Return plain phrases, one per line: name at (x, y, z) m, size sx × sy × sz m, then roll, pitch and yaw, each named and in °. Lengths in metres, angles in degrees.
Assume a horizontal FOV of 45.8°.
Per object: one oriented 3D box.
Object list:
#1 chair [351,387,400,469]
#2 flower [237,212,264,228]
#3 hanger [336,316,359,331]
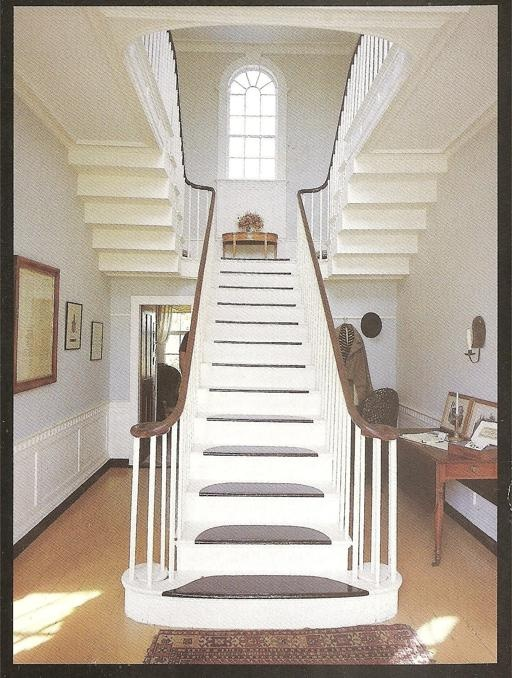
chair at (1.091, 0.670, 5.477) m, size 0.381 × 0.432 × 0.481 m, roll 1°, pitch 3°, yaw 13°
flower at (-0.067, -1.541, 7.881) m, size 0.227 × 0.152 × 0.266 m, roll 2°, pitch 10°, yaw 2°
hanger at (1.078, -0.181, 7.060) m, size 0.243 × 0.164 × 0.059 m, roll 2°, pitch 0°, yaw -8°
